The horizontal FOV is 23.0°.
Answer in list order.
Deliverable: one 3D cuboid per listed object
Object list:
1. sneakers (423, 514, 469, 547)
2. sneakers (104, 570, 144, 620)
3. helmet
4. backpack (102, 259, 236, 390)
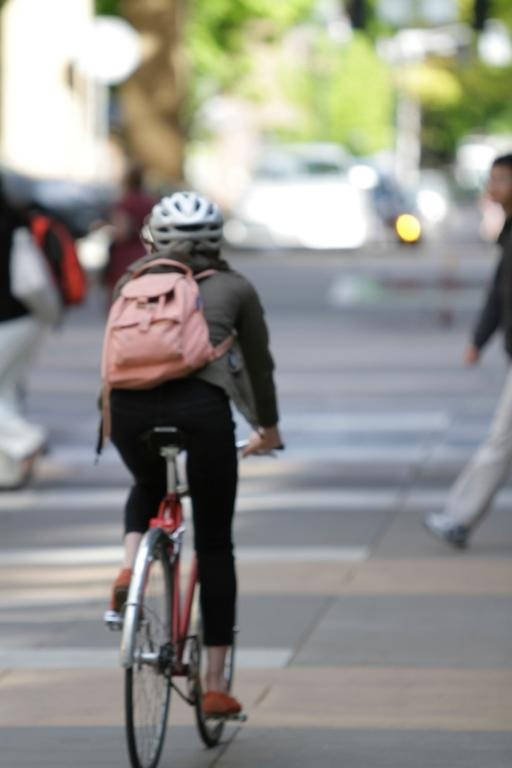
[{"bbox_3d":[0.823,0.617,5.439,0.224,0.110,0.077,18,79,21],"label":"sneakers"},{"bbox_3d":[-0.327,0.529,3.152,0.088,0.057,0.130,3,80,48],"label":"sneakers"},{"bbox_3d":[-0.191,-0.417,3.399,0.215,0.227,0.183,0,85,4],"label":"helmet"},{"bbox_3d":[-0.240,-0.185,3.295,0.413,0.440,0.293,14,109,61],"label":"backpack"}]
